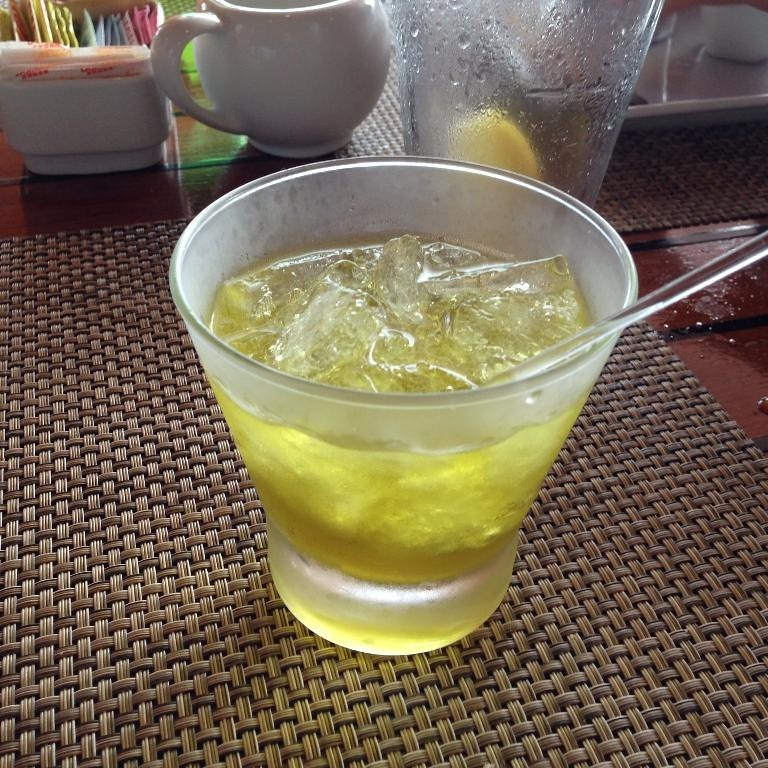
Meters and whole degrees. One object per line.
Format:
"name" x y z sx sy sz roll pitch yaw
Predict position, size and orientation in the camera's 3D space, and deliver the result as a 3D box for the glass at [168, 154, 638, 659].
"glass" 0.033 0.000 0.611 0.406 0.305 0.348 -2 41 -6
